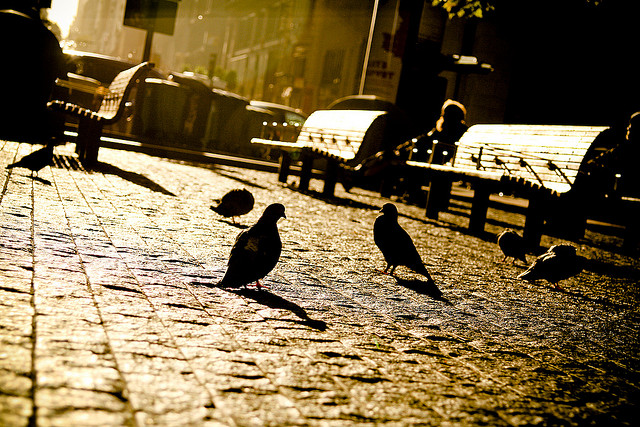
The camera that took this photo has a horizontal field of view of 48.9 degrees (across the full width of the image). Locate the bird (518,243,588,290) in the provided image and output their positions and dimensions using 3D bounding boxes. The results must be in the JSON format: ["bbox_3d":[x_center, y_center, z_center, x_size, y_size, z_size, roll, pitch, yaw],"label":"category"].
[{"bbox_3d":[2.894,0.618,8.796,0.677,0.528,0.229,13,9,20],"label":"bird"}]

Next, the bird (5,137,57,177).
[{"bbox_3d":[-3.991,-0.762,9.823,0.517,0.438,0.845,7,9,-19],"label":"bird"}]

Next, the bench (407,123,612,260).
[{"bbox_3d":[3.096,-0.547,11.785,2.086,2.198,4.397,10,9,2],"label":"bench"}]

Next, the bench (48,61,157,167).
[{"bbox_3d":[-4.862,-2.422,15.085,1.581,1.925,8.865,6,10,-21],"label":"bench"}]

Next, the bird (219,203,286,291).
[{"bbox_3d":[-0.667,0.400,7.027,0.571,0.705,0.330,3,11,-36],"label":"bird"}]

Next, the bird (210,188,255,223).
[{"bbox_3d":[-1.153,-0.145,9.486,0.537,0.441,0.308,5,0,-10],"label":"bird"}]
